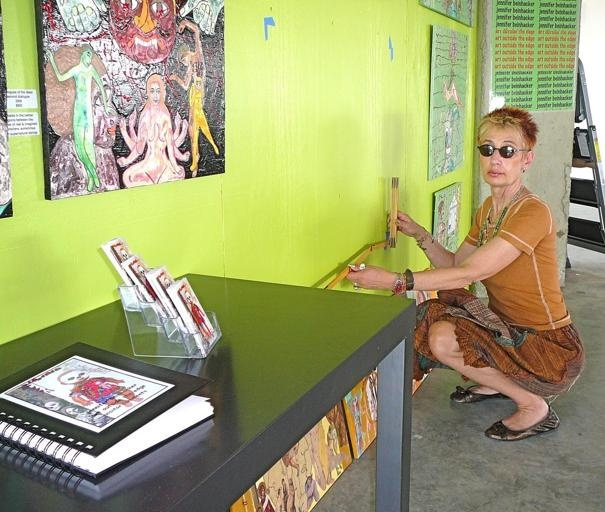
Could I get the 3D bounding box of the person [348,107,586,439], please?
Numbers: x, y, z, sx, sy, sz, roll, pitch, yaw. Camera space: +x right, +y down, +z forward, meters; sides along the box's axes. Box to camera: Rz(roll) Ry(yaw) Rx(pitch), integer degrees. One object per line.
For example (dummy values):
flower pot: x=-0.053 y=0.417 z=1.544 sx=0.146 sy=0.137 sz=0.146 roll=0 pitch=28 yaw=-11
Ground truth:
person: x=0.859 y=0.077 z=2.467 sx=1.092 sy=1.618 sz=0.806 roll=-2 pitch=8 yaw=6

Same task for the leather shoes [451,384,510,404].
leather shoes: x=0.990 y=0.770 z=2.612 sx=0.317 sy=0.096 sz=0.122 roll=4 pitch=1 yaw=-3

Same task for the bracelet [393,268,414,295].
bracelet: x=0.449 y=0.103 z=2.075 sx=0.077 sy=0.117 sz=0.057 roll=12 pitch=3 yaw=-16

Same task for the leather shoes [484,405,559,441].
leather shoes: x=1.072 y=0.836 z=2.320 sx=0.387 sy=0.144 sz=0.147 roll=-7 pitch=8 yaw=-14

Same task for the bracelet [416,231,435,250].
bracelet: x=0.693 y=-0.091 z=2.633 sx=0.075 sy=0.112 sz=0.056 roll=-3 pitch=-5 yaw=7
